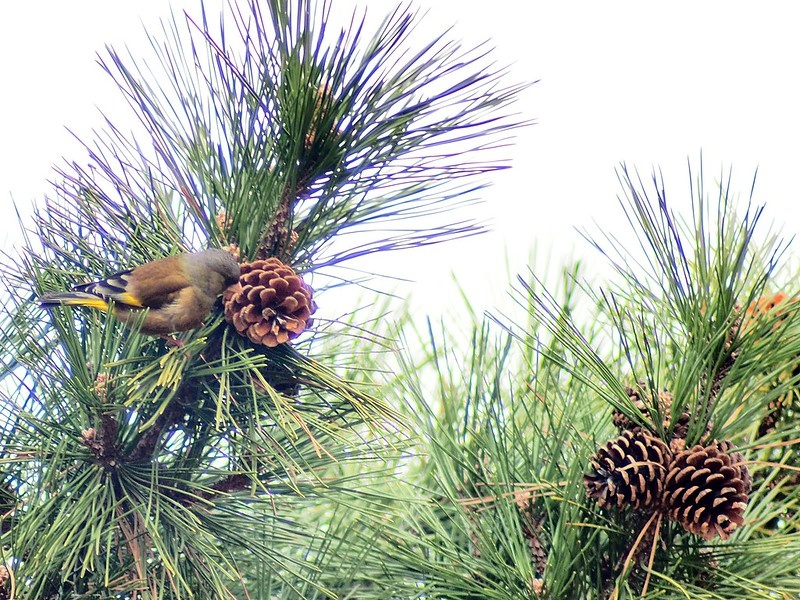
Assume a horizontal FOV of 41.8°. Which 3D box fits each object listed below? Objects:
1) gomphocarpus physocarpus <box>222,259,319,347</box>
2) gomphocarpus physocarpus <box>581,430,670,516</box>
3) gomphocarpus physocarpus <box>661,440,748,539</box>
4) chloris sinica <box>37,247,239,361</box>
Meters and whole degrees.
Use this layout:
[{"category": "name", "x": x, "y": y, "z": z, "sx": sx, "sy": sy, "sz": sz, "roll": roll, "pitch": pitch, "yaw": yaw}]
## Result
[{"category": "gomphocarpus physocarpus", "x": -0.420, "y": 0.013, "z": 3.262, "sx": 0.289, "sy": 0.353, "sz": 0.231, "roll": -1, "pitch": 0, "yaw": -2}, {"category": "gomphocarpus physocarpus", "x": 0.657, "y": 0.481, "z": 3.043, "sx": 0.245, "sy": 0.202, "sz": 0.176, "roll": -30, "pitch": 30, "yaw": -34}, {"category": "gomphocarpus physocarpus", "x": 0.879, "y": 0.526, "z": 2.996, "sx": 0.255, "sy": 0.302, "sz": 0.192, "roll": 4, "pitch": 0, "yaw": -40}, {"category": "chloris sinica", "x": -0.889, "y": 0.011, "z": 3.500, "sx": 0.687, "sy": 0.394, "sz": 0.254, "roll": 6, "pitch": -22, "yaw": -18}]
